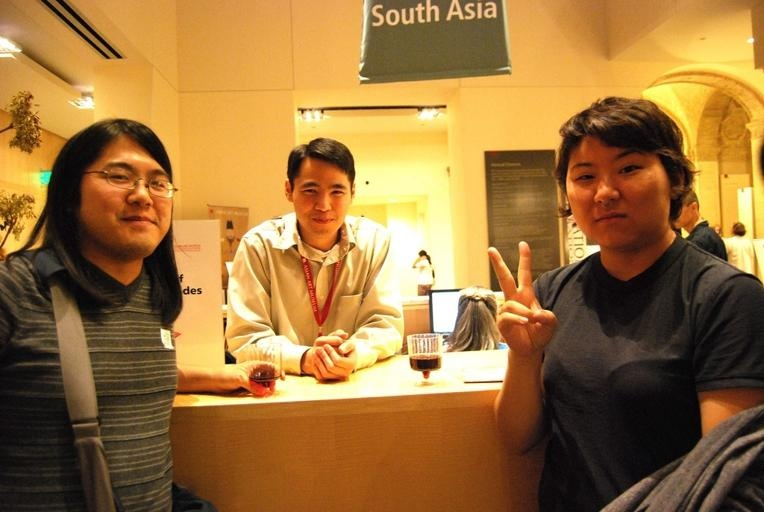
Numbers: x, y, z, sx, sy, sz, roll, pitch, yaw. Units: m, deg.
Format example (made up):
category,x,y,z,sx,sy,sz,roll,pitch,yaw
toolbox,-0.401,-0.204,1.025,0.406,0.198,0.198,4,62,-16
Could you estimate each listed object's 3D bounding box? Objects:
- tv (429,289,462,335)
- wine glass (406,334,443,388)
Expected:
category,x,y,z,sx,sy,sz,roll,pitch,yaw
tv,0.357,0.307,3.116,0.261,0.300,0.024,2,-3,4
wine glass,0.214,0.442,2.496,0.133,0.210,0.205,-1,1,28
